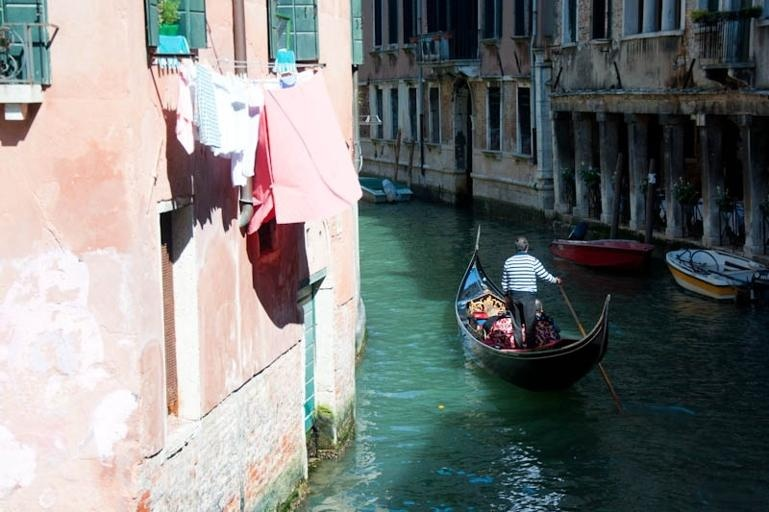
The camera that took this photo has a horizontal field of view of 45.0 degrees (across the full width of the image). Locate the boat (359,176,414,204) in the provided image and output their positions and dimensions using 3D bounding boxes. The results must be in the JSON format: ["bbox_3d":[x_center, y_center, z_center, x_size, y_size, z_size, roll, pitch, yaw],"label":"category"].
[{"bbox_3d":[-0.057,-2.686,37.473,1.888,0.870,2.241,-5,13,-7],"label":"boat"}]

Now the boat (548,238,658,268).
[{"bbox_3d":[5.381,-0.041,23.366,0.730,0.571,3.147,-7,2,-20],"label":"boat"}]

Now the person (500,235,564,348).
[{"bbox_3d":[2.304,0.755,15.119,0.318,1.634,0.847,-14,17,-42],"label":"person"}]
